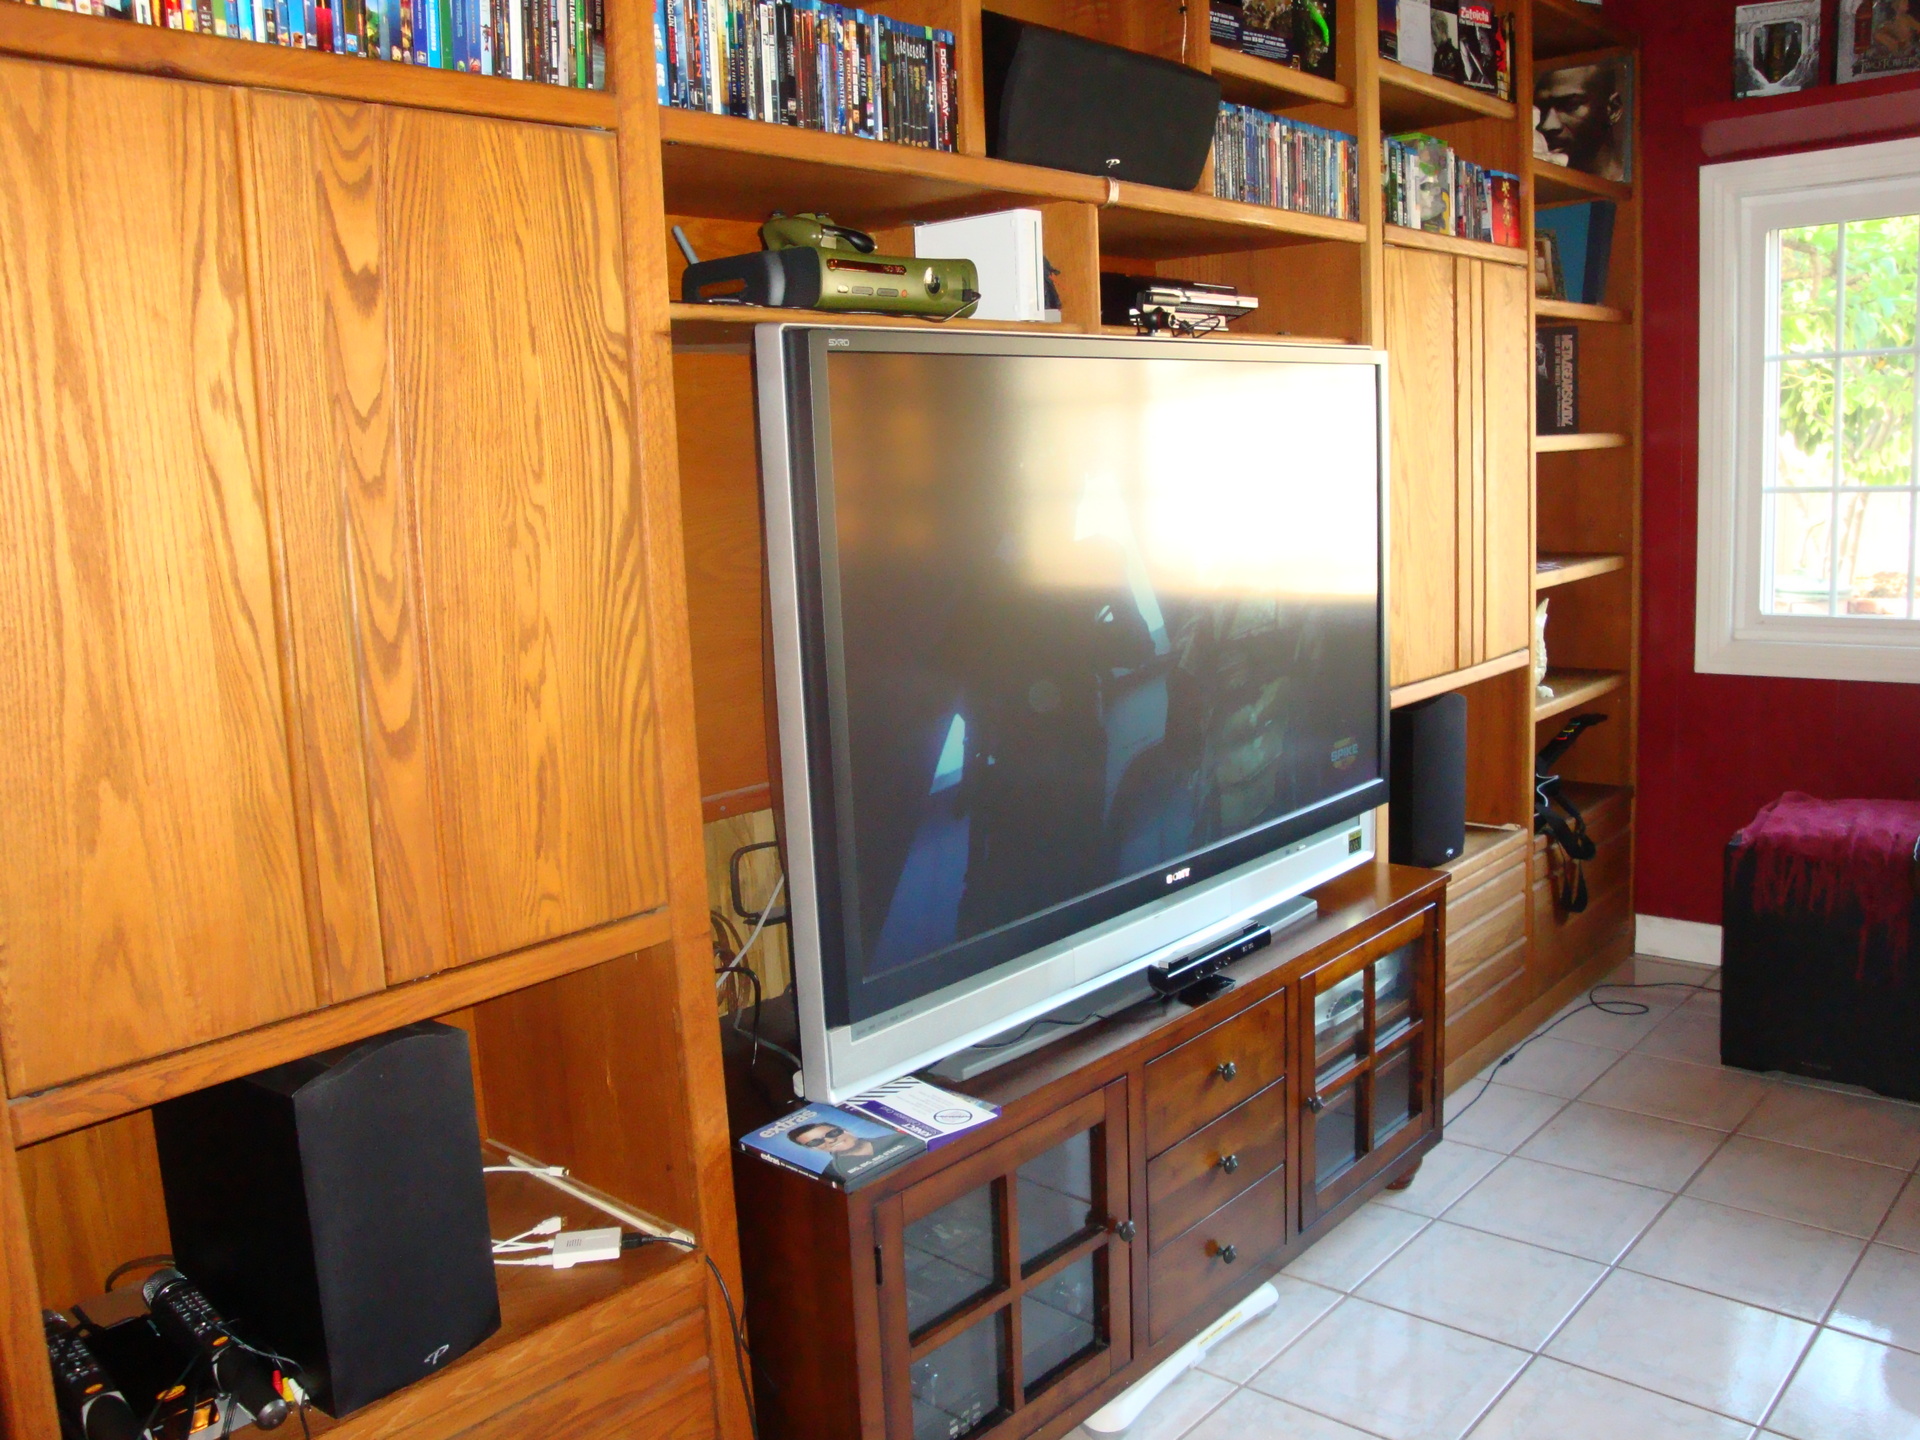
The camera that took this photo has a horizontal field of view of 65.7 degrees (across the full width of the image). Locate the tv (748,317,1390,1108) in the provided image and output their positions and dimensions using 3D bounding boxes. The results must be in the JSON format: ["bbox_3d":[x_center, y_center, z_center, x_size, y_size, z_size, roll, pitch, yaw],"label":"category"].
[{"bbox_3d":[0.157,-0.005,2.547,0.105,1.050,1.468,9,17,43],"label":"tv"}]

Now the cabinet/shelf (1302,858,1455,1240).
[{"bbox_3d":[0.877,0.706,3.180,0.273,0.619,0.667,5,19,32],"label":"cabinet/shelf"}]
